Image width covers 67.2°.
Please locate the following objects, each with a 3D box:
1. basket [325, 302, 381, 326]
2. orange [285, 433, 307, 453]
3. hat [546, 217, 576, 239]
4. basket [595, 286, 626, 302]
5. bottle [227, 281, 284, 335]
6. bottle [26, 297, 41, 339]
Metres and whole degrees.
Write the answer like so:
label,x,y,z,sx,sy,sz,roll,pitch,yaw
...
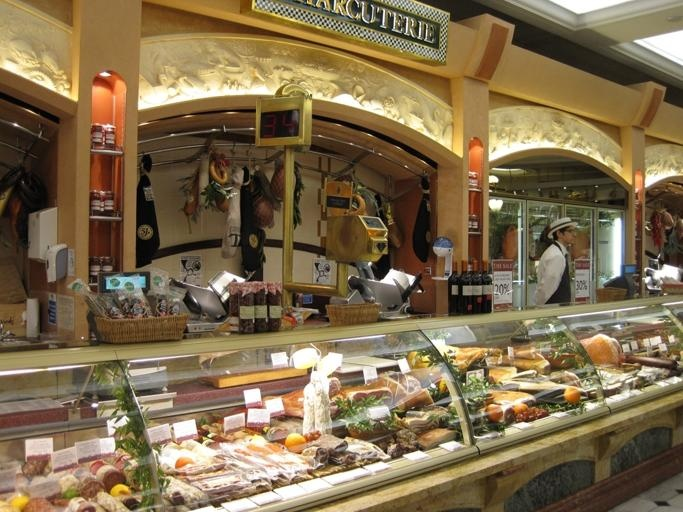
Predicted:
label,x,y,z,sx,sy,sz,roll,pitch,yaw
basket,0.063,0.314,2.929,0.219,0.090,0.137,-2,1,-28
orange,-0.232,0.926,2.564,0.077,0.074,0.073,-2,6,-10
hat,2.342,-0.331,5.550,0.264,0.079,0.240,-17,0,13
basket,2.333,0.334,4.500,0.186,0.140,0.226,-2,4,-35
bottle,-0.420,0.249,2.572,0.251,0.252,0.257,-1,-3,-4
bottle,-2.781,0.588,4.639,0.137,0.360,0.133,7,14,-2
